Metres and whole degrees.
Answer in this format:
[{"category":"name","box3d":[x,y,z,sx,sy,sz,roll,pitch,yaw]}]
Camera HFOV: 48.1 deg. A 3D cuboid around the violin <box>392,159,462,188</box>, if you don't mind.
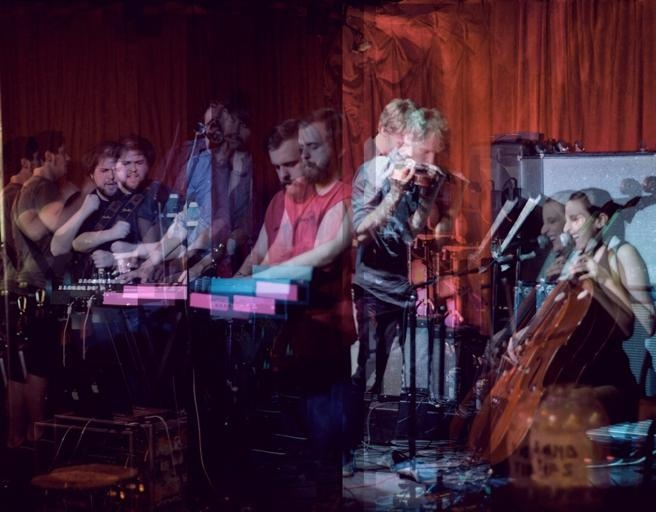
[{"category":"violin","box3d":[0.611,-0.485,4.563,0.387,0.107,0.166,17,9,-20]}]
